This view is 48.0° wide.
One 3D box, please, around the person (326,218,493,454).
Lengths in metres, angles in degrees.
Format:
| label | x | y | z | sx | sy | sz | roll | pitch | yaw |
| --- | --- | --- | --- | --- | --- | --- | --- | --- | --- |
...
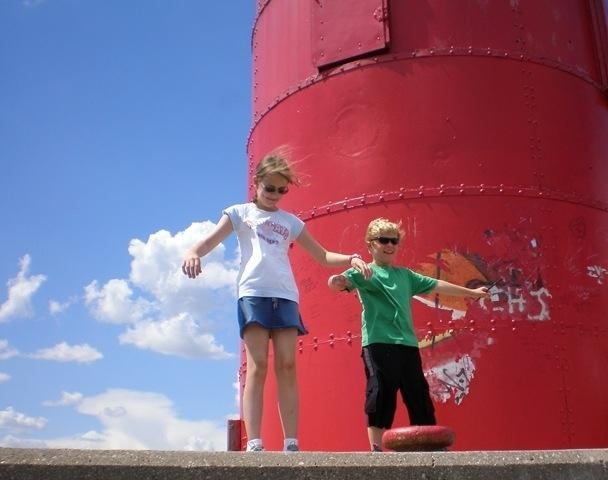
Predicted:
| label | x | y | z | sx | sy | sz | roll | pitch | yaw |
| --- | --- | --- | --- | --- | --- | --- | --- | --- | --- |
| person | 0.865 | 0.793 | 5.329 | 1.392 | 2.031 | 0.659 | 9 | -41 | -13 |

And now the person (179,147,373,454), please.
| label | x | y | z | sx | sy | sz | roll | pitch | yaw |
| --- | --- | --- | --- | --- | --- | --- | --- | --- | --- |
| person | -0.241 | 0.396 | 4.726 | 1.209 | 2.142 | 0.575 | 3 | -24 | -13 |

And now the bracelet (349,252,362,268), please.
| label | x | y | z | sx | sy | sz | roll | pitch | yaw |
| --- | --- | --- | --- | --- | --- | --- | --- | --- | --- |
| bracelet | 0.361 | 0.150 | 4.878 | 0.077 | 0.100 | 0.106 | 1 | -26 | -3 |
